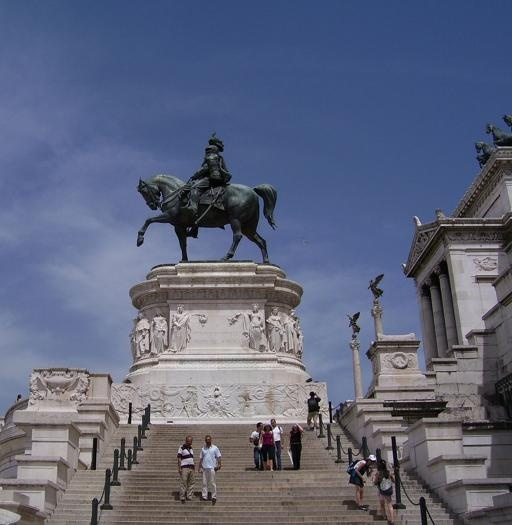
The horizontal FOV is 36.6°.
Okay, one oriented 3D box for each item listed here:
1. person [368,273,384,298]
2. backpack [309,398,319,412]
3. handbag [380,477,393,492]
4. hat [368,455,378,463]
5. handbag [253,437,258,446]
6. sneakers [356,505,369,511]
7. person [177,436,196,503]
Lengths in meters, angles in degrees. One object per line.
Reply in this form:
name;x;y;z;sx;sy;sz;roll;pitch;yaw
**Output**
person;4.595;0.901;29.384;0.407;0.908;0.819;-4;-62;14
backpack;1.940;4.806;26.096;0.512;0.452;0.256;0;-14;3
handbag;2.927;5.003;17.384;0.278;0.296;0.172;-4;-26;8
hat;2.834;4.742;18.722;0.352;0.145;0.476;1;-12;3
handbag;-0.042;4.914;21.154;0.183;0.159;0.177;2;-7;-22
sneakers;2.496;5.704;17.961;0.105;0.109;0.295;7;-13;-31
person;-1.678;4.919;18.323;0.376;1.483;0.702;3;-26;-5
